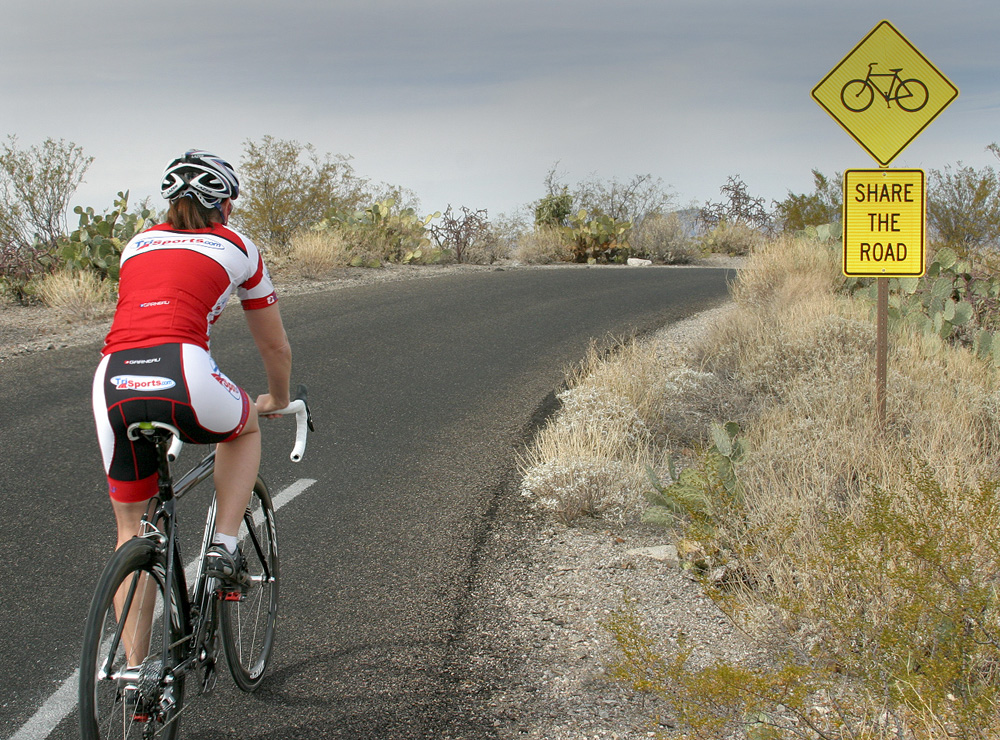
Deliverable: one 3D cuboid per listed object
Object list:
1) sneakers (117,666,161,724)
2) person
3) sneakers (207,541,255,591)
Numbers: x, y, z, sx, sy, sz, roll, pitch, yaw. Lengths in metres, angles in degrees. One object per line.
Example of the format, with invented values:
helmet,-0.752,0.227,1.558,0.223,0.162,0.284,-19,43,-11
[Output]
sneakers,-1.733,1.556,3.845,0.096,0.280,0.300,-11,-6,-17
person,-1.611,0.415,4.032,0.528,2.873,1.326,8,15,34
sneakers,-1.394,1.018,4.200,0.104,0.180,0.348,-2,-33,3
